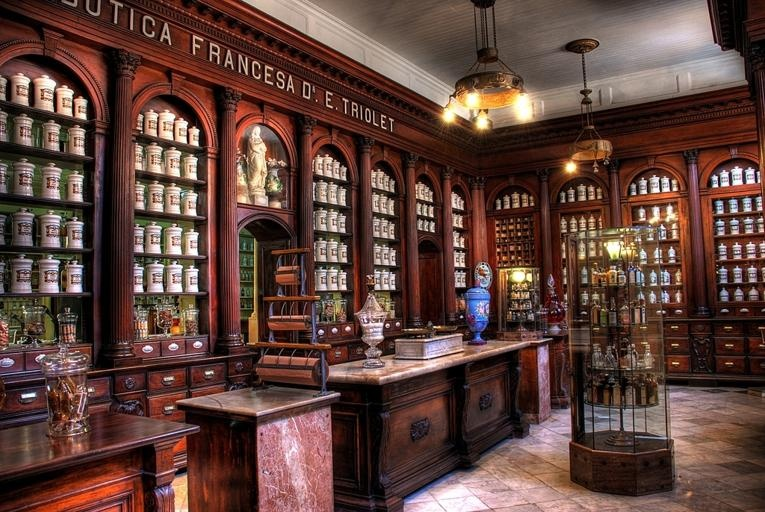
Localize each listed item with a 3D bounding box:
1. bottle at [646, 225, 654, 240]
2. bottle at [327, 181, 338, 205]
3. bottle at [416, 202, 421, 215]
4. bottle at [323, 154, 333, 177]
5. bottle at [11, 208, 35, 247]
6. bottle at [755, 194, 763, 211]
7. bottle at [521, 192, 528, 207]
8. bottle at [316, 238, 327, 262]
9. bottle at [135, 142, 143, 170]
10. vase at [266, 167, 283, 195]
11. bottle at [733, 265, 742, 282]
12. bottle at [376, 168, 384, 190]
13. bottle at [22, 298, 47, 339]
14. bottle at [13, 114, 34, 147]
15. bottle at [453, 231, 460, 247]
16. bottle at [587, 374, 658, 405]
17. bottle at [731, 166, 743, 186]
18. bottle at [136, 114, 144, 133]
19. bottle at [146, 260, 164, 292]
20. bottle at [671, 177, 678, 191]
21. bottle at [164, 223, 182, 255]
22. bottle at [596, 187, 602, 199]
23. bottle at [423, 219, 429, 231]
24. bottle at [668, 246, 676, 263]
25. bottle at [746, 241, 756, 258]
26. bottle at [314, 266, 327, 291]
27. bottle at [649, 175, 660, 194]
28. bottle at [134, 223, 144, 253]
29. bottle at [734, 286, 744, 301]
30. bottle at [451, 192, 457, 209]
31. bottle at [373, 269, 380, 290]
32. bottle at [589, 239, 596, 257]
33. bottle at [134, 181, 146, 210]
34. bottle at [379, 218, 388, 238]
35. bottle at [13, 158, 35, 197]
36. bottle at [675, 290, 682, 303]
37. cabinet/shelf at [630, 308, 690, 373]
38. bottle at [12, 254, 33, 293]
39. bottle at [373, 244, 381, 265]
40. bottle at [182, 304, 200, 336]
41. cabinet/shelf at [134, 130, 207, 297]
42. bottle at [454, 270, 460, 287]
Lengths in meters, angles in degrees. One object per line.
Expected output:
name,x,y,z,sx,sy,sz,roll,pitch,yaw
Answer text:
bottle,2.772,-0.230,5.922,0.093,0.154,0.049,-4,-6,12
bottle,-0.776,-0.959,8.879,0.077,0.348,0.205,-7,-8,41
bottle,0.686,-0.881,10.780,0.063,0.229,0.200,-4,-6,12
bottle,-0.850,-1.374,8.869,0.067,0.327,0.213,-6,-7,29
bottle,-3.689,-0.275,5.855,0.193,0.389,0.181,-2,-6,0
bottle,6.827,-0.956,10.366,0.063,0.302,0.151,-2,-6,-6
bottle,3.029,-1.184,12.166,0.144,0.293,0.093,-7,-7,38
bottle,-0.943,-0.070,8.777,0.242,0.328,0.082,2,-8,-40
bottle,-2.869,-1.155,6.720,0.071,0.365,0.224,-1,-6,-15
vase,-1.556,-1.074,8.162,0.165,0.419,0.253,-4,-6,15
bottle,6.548,0.347,10.530,0.168,0.321,0.136,3,-8,-45
bottle,-0.046,-1.297,9.819,0.059,0.341,0.177,-5,-6,22
bottle,-3.624,0.659,5.919,0.195,0.414,0.204,-2,-6,0
bottle,-3.722,-1.282,5.898,0.159,0.372,0.246,1,-7,-33
bottle,1.535,-0.344,11.829,0.106,0.347,0.358,-4,-6,12
bottle,2.475,1.420,5.816,0.436,0.153,0.418,0,-6,0
bottle,6.545,-1.463,10.541,0.197,0.339,0.104,-5,-6,26
bottle,-2.862,-1.568,6.694,0.037,0.218,0.117,-5,-6,22
bottle,-2.677,0.269,6.735,0.211,0.345,0.138,2,-7,-37
bottle,5.603,-1.357,10.971,0.074,0.268,0.120,0,-6,-24
bottle,-2.532,-0.193,6.882,0.179,0.389,0.172,-2,-6,0
bottle,4.382,-1.254,11.590,0.078,0.258,0.160,-1,-6,-15
bottle,0.820,-0.573,10.913,0.034,0.241,0.235,-5,-7,32
bottle,5.563,-0.025,10.969,0.186,0.368,0.120,-4,-6,17
bottle,6.749,-0.104,10.469,0.158,0.328,0.119,-6,-7,31
bottle,-0.959,0.349,8.677,0.162,0.362,0.321,-7,-7,35
bottle,5.294,-1.377,11.107,0.166,0.344,0.064,-6,-7,29
bottle,-2.822,-0.190,6.602,0.091,0.328,0.169,-1,-6,-18
bottle,6.538,0.713,10.451,0.182,0.261,0.123,-4,-6,20
bottle,1.473,-1.166,11.791,0.086,0.380,0.452,-4,-6,14
bottle,-0.079,0.395,9.609,0.115,0.370,0.377,-2,-6,-1
bottle,2.200,-0.076,5.991,0.089,0.166,0.035,-3,-6,2
bottle,-2.840,-0.687,6.719,0.080,0.328,0.247,-2,-6,-4
bottle,0.024,-0.459,9.800,0.067,0.315,0.198,-4,-6,16
bottle,-3.717,-0.800,5.892,0.175,0.413,0.192,-2,-6,0
bottle,5.647,0.772,10.889,0.116,0.243,0.061,-4,-6,14
cabinet/shelf,5.100,1.717,10.642,1.215,1.034,0.420,3,-10,-7
bottle,-3.697,0.191,5.830,0.179,0.399,0.147,1,-7,-33
bottle,-0.084,-0.007,9.690,0.105,0.317,0.169,-3,-6,10
bottle,-2.373,0.798,7.058,0.188,0.371,0.247,0,-6,-19
cabinet/shelf,-2.520,-0.474,6.840,1.021,1.799,0.331,0,-1,-24
bottle,1.528,0.469,11.687,0.070,0.312,0.224,-6,-7,32
